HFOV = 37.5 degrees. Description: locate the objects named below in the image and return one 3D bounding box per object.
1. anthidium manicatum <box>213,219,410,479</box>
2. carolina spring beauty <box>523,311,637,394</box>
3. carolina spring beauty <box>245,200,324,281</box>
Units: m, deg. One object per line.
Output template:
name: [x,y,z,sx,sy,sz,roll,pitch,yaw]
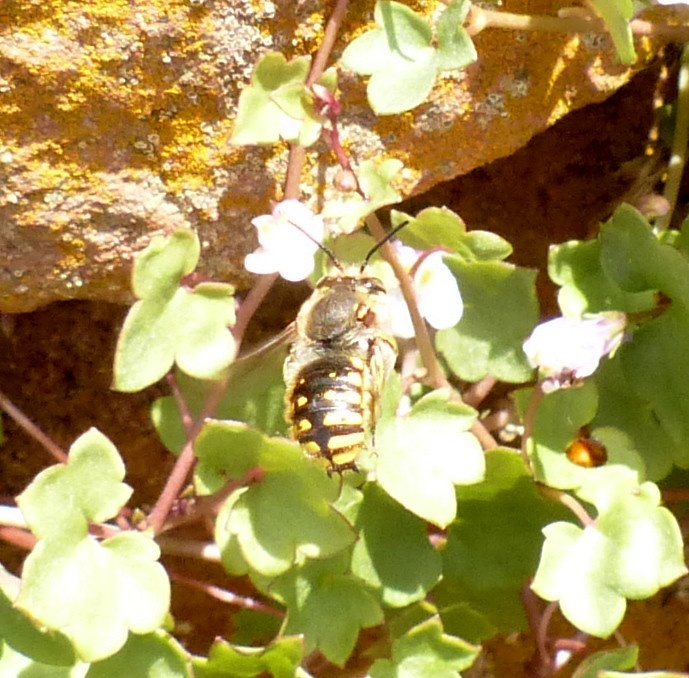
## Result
anthidium manicatum: [-0.015,0.044,1.979,0.226,0.630,0.454,7,11,30]
carolina spring beauty: [0.460,0.008,1.989,0.245,0.115,0.120,-40,59,-23]
carolina spring beauty: [-0.113,-0.202,2.015,0.169,0.151,0.043,12,8,-21]
